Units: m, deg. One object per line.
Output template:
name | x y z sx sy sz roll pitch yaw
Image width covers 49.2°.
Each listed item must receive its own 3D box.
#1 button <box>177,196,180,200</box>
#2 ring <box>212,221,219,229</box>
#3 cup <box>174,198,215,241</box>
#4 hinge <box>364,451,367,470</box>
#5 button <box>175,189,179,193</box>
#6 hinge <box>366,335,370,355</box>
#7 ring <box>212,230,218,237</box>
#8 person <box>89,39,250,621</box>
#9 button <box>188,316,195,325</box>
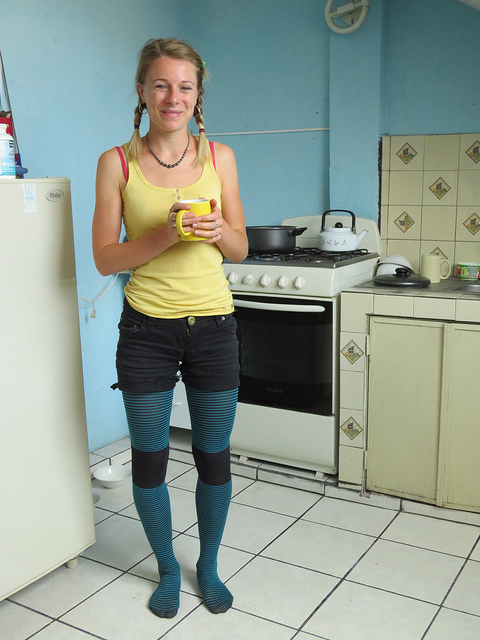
button | -0.136 -0.268 1.145 0.008 0.008 0.002 -4 7 0
ring | -0.050 -0.188 1.029 0.005 0.019 0.019 -6 0 -9
cup | -0.084 -0.196 1.019 0.089 0.078 0.052 -3 5 -27
hinge | 0.473 0.531 1.973 0.017 0.068 0.007 -3 5 -31
button | -0.139 -0.284 1.149 0.009 0.007 0.004 -3 5 -27
hinge | 0.463 0.091 1.895 0.019 0.072 0.008 -5 6 -44
ring | -0.049 -0.173 1.047 0.007 0.008 0.008 -13 -28 -7
person | -0.110 0.071 1.244 0.346 1.365 0.395 -5 6 -45
button | -0.112 0.002 1.204 0.022 0.021 0.003 0 13 -17
